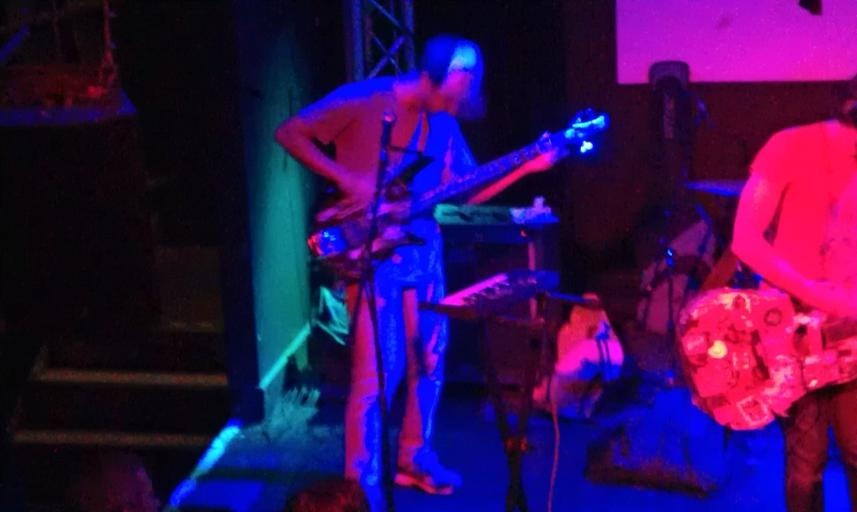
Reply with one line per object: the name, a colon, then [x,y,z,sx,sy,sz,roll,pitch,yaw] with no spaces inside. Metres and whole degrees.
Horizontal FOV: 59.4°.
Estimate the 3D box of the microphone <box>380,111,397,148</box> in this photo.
microphone: [-0.227,-0.704,4.254,0.092,0.211,0.286,1,12,-4]
